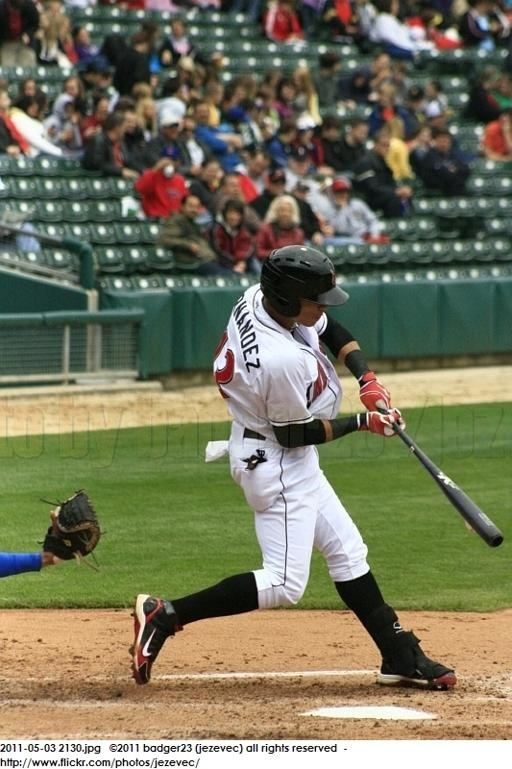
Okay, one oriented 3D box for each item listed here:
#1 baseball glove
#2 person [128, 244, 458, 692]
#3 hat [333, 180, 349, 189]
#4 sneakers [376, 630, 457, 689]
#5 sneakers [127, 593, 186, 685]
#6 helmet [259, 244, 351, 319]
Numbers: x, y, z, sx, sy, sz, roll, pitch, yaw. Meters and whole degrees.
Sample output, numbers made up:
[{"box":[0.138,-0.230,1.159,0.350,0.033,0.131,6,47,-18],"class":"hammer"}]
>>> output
[{"box":[-0.615,0.504,4.240,0.121,0.240,0.215,-24,20,37],"class":"baseball glove"},{"box":[0.125,0.248,4.031,1.045,1.379,0.633,0,11,-6],"class":"person"},{"box":[0.759,-1.759,11.065,0.149,0.094,0.164,1,9,1],"class":"hat"},{"box":[0.481,0.873,3.862,0.339,0.187,0.113,1,-5,5],"class":"sneakers"},{"box":[-0.323,0.766,3.814,0.179,0.295,0.107,0,0,1],"class":"sneakers"},{"box":[0.158,-0.303,3.884,0.281,0.185,0.186,18,21,5],"class":"helmet"}]
